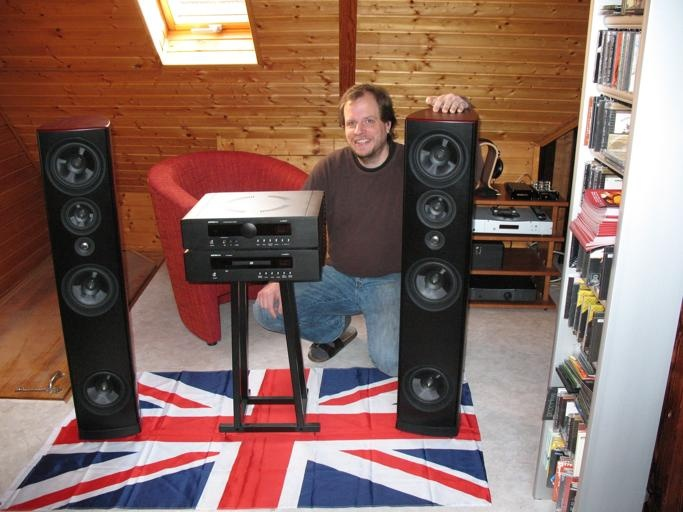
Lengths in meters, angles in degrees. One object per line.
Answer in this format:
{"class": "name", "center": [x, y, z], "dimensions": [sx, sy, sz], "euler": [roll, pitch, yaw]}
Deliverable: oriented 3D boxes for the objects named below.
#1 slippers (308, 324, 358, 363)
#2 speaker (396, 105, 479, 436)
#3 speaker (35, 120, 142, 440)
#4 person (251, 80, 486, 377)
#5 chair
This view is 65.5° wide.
{"class": "slippers", "center": [-0.043, 0.472, 2.845], "dimensions": [0.107, 0.075, 0.279], "euler": [23, 33, 27]}
{"class": "speaker", "center": [0.353, 0.122, 2.018], "dimensions": [0.257, 1.261, 0.147], "euler": [2, 21, 10]}
{"class": "speaker", "center": [-0.954, 0.139, 2.043], "dimensions": [0.323, 1.271, 0.168], "euler": [-8, 21, -16]}
{"class": "person", "center": [0.099, -0.138, 2.399], "dimensions": [1.118, 1.275, 0.689], "euler": [2, 18, 17]}
{"class": "chair", "center": [-0.552, 0.091, 3.134], "dimensions": [0.916, 0.672, 0.766], "euler": [-4, 7, -20]}
